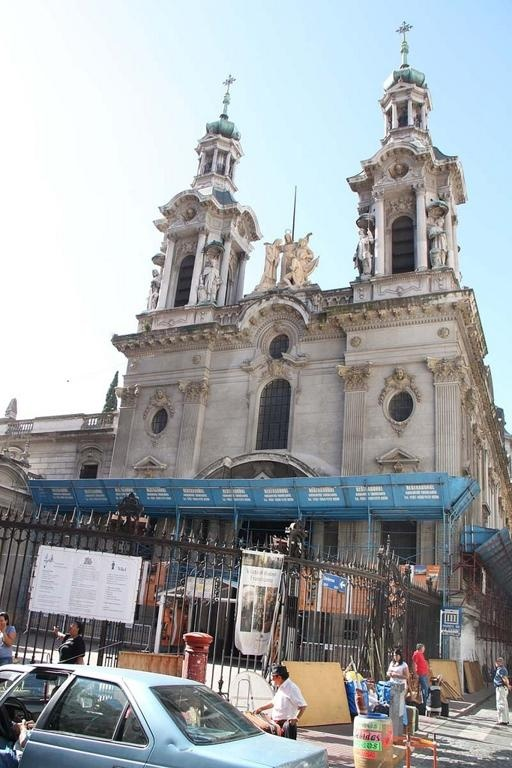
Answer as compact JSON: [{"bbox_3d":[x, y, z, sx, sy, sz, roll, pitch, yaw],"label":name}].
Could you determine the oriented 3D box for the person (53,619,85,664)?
[{"bbox_3d":[-2.586,3.618,9.109,0.374,0.553,1.075,12,-26,-12],"label":"person"}]

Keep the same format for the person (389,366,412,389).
[{"bbox_3d":[6.190,-0.242,27.883,1.073,0.854,0.420,-3,-27,19],"label":"person"}]

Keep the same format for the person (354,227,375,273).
[{"bbox_3d":[5.468,-6.574,32.513,0.865,3.792,1.131,1,-26,11],"label":"person"}]

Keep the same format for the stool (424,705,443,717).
[{"bbox_3d":[3.931,7.225,14.354,0.288,0.189,0.220,-2,-21,11],"label":"stool"}]
